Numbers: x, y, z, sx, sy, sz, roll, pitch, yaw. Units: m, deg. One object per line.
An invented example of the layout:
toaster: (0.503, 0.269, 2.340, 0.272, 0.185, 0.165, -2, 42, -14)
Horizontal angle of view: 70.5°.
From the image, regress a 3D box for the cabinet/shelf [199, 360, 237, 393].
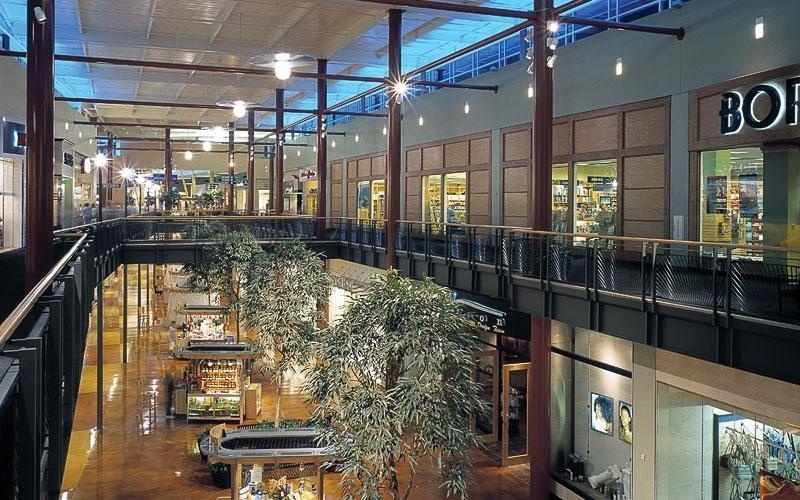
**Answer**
cabinet/shelf: (-7.577, 5.352, 24.104, 1.735, 1.696, 0.609, -2, -2, 12)
